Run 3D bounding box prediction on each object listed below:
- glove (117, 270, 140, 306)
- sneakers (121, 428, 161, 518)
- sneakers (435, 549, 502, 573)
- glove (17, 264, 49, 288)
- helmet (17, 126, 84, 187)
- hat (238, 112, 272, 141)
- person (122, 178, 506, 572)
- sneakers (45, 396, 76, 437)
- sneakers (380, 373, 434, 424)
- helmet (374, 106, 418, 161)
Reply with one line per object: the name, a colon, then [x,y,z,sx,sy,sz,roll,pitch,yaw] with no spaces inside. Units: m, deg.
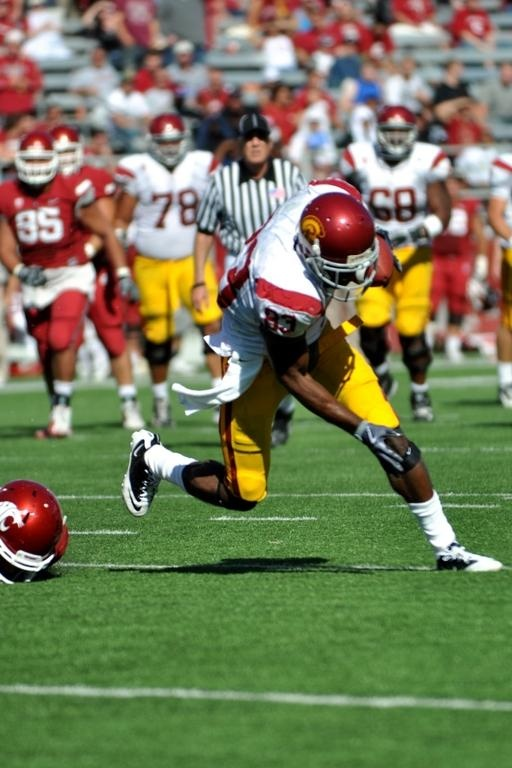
glove: [-0.841,-0.631,5.371,0.058,0.132,0.168,-21,67,0]
sneakers: [-0.407,0.312,2.979,0.172,0.312,0.117,-7,-9,27]
sneakers: [0.609,0.517,2.435,0.209,0.076,0.069,1,21,17]
glove: [-1.419,-0.680,5.287,0.186,0.074,0.122,12,55,-35]
helmet: [-1.315,-1.473,5.351,0.310,0.250,0.466,-3,36,3]
hat: [-0.023,-1.546,5.030,0.176,0.155,0.191,-21,41,-32]
person: [0.156,0.017,2.577,1.243,1.263,0.480,20,39,22]
sneakers: [-1.381,0.253,5.939,0.266,0.380,0.156,4,30,-10]
sneakers: [1.209,0.117,6.643,0.144,0.420,0.198,-22,4,31]
helmet: [0.957,-1.894,6.339,0.360,0.376,0.424,0,17,1]
